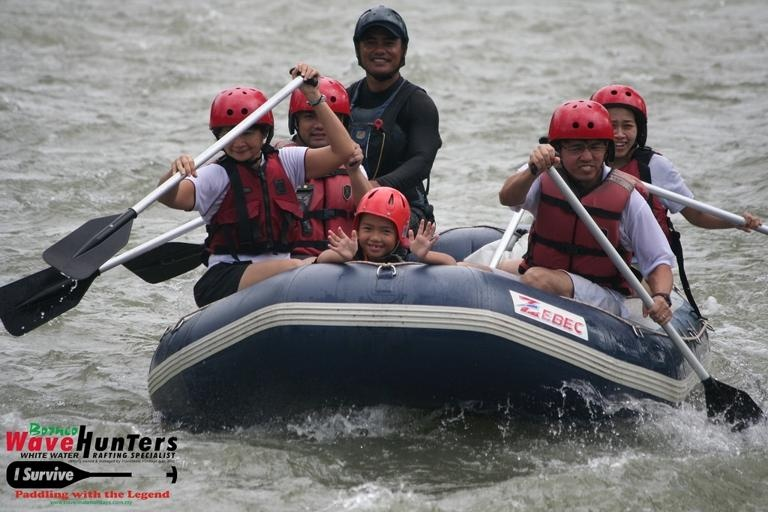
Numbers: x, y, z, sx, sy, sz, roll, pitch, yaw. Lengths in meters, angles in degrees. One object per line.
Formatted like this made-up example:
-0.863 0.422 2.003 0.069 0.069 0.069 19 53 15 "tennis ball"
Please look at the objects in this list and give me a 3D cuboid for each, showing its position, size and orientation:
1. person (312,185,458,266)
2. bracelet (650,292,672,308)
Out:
0.021 -0.196 9.659 1.325 0.590 0.723 0 4 0 "person"
2.498 0.390 9.466 0.152 0.062 0.114 30 35 15 "bracelet"
